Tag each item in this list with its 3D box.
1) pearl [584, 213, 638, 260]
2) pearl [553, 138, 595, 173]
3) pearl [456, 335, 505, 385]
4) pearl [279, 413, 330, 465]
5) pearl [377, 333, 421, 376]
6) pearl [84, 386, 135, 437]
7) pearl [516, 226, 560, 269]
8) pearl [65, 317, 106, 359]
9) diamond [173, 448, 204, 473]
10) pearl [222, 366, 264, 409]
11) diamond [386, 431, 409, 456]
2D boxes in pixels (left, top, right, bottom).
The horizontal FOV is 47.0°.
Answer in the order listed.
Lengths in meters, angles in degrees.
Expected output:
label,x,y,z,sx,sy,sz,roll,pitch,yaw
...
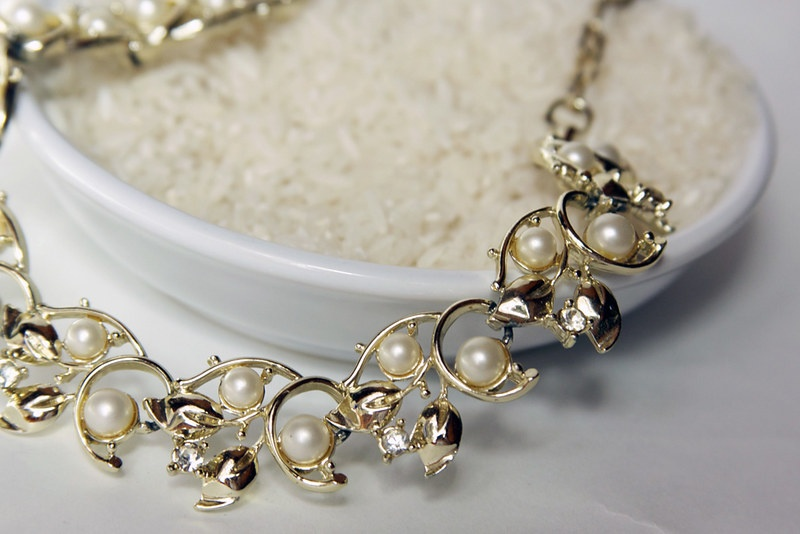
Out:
label,x,y,z,sx,sy,sz,roll,pitch,yaw
pearl,0.206,-0.030,0.896,0.043,0.045,0.034,27,-35,-6
pearl,0.194,-0.121,1.015,0.034,0.034,0.027,24,-85,-5
pearl,0.080,0.092,0.882,0.049,0.036,0.033,0,-47,-15
pearl,-0.089,0.163,0.871,0.042,0.045,0.033,-5,-27,-14
pearl,-0.001,0.086,0.884,0.038,0.042,0.025,0,-12,1
pearl,-0.281,0.142,0.892,0.050,0.034,0.033,0,-47,-15
pearl,0.134,-0.016,0.899,0.037,0.039,0.045,23,-23,16
pearl,-0.313,0.072,0.919,0.033,0.035,0.019,-23,2,-1
diamond,-0.202,0.183,0.871,0.030,0.023,0.015,-9,-44,-6
pearl,-0.153,0.119,0.890,0.038,0.040,0.024,-20,-13,-13
diamond,-0.003,0.167,0.869,0.018,0.025,0.012,15,-13,-4
